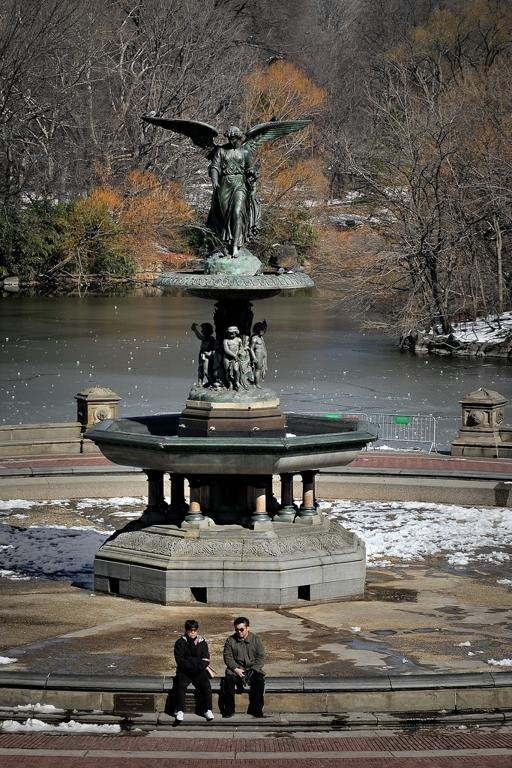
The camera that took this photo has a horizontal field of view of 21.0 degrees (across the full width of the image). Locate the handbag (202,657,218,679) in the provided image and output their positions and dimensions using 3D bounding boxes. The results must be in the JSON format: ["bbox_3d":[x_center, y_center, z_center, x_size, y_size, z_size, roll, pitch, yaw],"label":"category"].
[{"bbox_3d":[-0.410,2.397,11.591,0.093,0.273,0.071,-15,32,10],"label":"handbag"}]

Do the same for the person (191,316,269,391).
[{"bbox_3d":[-0.351,-0.327,17.337,0.872,0.862,0.720,1,1,9],"label":"person"}]

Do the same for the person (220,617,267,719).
[{"bbox_3d":[-0.131,2.377,11.596,0.375,0.750,0.453,1,1,0],"label":"person"}]

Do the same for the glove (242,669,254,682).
[{"bbox_3d":[-0.082,2.442,11.527,0.034,0.109,0.076,-5,8,-41],"label":"glove"}]
